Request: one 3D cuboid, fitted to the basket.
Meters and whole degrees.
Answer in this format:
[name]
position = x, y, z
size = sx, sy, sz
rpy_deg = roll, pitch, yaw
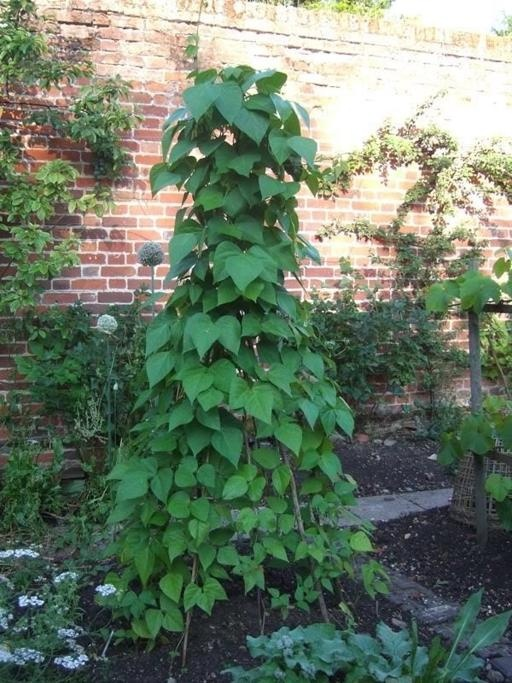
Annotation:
[basket]
position = 1.099, 0.700, 2.795
size = 0.263, 0.370, 0.299
rpy_deg = 0, 4, -1
